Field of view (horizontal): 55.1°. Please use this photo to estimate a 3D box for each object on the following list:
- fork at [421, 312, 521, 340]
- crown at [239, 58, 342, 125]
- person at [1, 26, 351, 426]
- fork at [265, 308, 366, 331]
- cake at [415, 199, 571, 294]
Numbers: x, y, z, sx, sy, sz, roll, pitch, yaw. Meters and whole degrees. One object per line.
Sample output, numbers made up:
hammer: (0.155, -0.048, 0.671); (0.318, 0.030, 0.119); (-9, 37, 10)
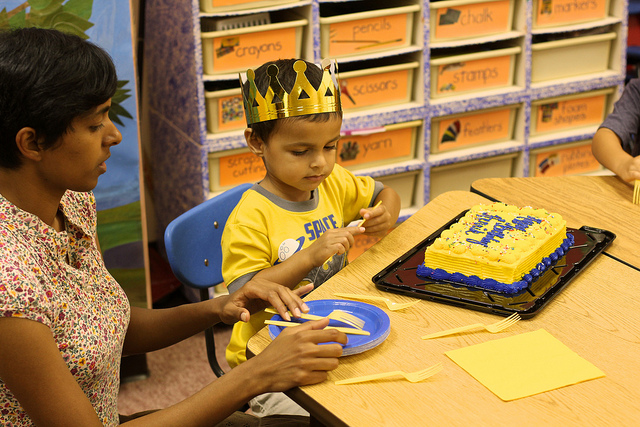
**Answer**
fork: (0.362, 0.279, 1.466); (0.234, 0.034, 0.031); (-13, 20, -6)
crown: (-0.073, -0.390, 1.835); (0.281, 0.193, 0.324); (-16, 24, -30)
person: (-0.342, 0.138, 1.378); (0.709, 1.012, 0.548); (3, 30, 7)
fork: (-0.007, 0.255, 1.472); (0.206, 0.021, 0.023); (7, 35, 19)
cake: (0.501, 0.090, 1.738); (0.304, 0.118, 0.377); (9, 23, 32)
